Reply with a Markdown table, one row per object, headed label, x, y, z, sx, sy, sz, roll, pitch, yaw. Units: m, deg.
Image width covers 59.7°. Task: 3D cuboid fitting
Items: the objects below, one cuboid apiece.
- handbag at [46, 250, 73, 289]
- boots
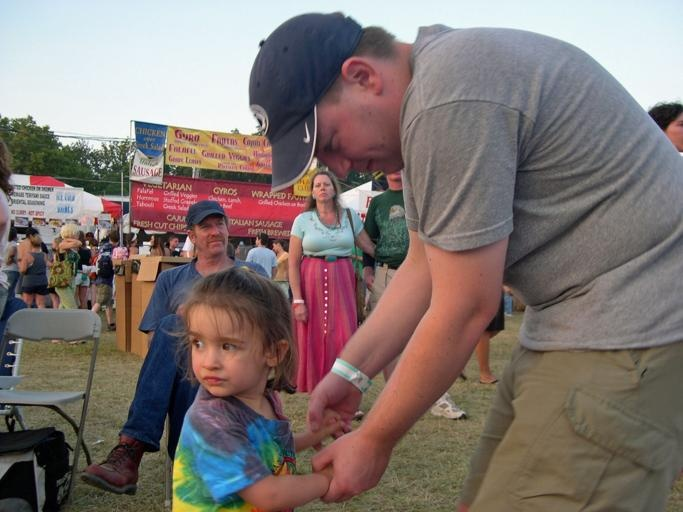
| label | x | y | z | sx | sy | sz | roll | pitch | yaw |
| --- | --- | --- | --- | --- | --- | --- | --- | --- | --- |
| handbag | -4.757 | 0.240 | 10.066 | 0.341 | 0.351 | 0.750 | -17 | 37 | -10 |
| boots | -1.175 | 1.091 | 3.125 | 0.164 | 0.302 | 0.413 | -1 | -26 | 17 |
